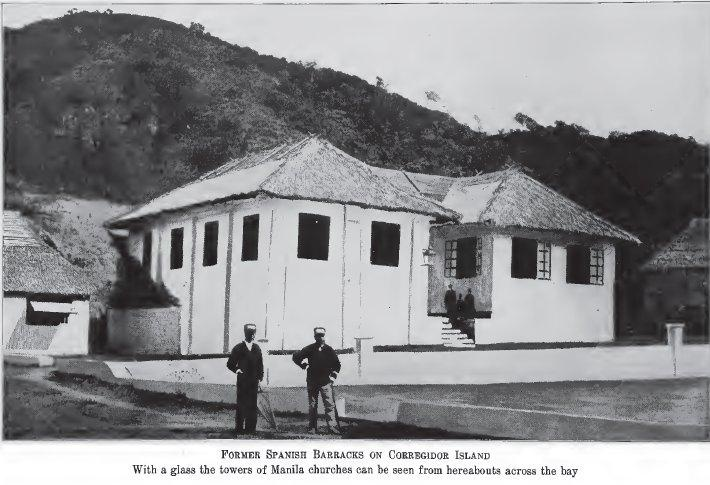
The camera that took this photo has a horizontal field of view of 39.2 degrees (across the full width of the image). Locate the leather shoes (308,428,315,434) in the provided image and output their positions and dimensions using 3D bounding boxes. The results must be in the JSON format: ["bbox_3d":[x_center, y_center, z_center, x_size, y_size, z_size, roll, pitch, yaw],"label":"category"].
[{"bbox_3d":[-0.773,3.323,17.738,0.111,0.081,0.119,-1,3,-24],"label":"leather shoes"}]
